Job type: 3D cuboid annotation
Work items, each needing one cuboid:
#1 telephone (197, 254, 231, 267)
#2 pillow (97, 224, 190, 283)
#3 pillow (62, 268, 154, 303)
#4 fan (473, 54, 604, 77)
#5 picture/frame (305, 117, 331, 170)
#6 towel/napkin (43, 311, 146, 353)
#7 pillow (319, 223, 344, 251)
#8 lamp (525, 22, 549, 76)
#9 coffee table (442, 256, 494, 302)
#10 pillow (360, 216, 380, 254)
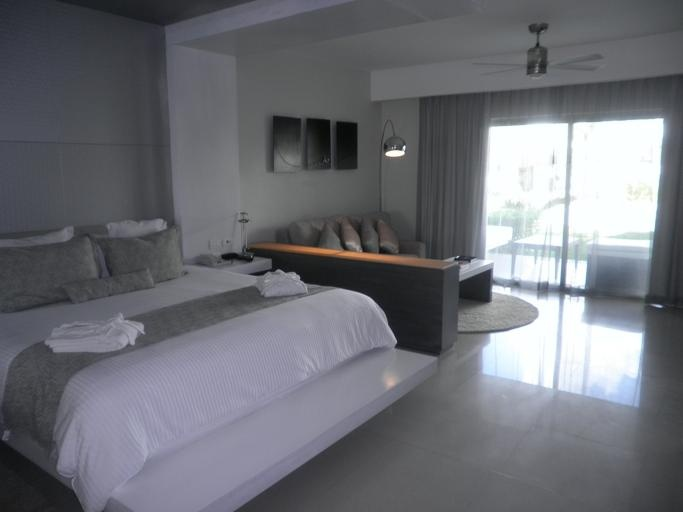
[{"bbox_3d":[-1.416,0.030,5.099,0.371,0.123,0.280,-3,11,-16],"label":"telephone"},{"bbox_3d":[-1.832,-0.019,4.194,0.142,0.320,0.489,-26,-10,39],"label":"pillow"},{"bbox_3d":[-1.941,0.248,3.826,0.674,0.214,0.121,-11,0,-38],"label":"pillow"},{"bbox_3d":[2.560,-2.368,5.791,0.919,0.139,0.930,-1,5,-11],"label":"fan"},{"bbox_3d":[-0.304,-1.565,6.512,0.461,0.678,0.057,-10,16,-42],"label":"picture/frame"},{"bbox_3d":[-1.539,0.493,2.881,0.366,0.069,0.269,-3,19,-20],"label":"towel/napkin"},{"bbox_3d":[-0.140,-0.258,6.076,0.105,0.336,0.357,-13,-15,18],"label":"pillow"},{"bbox_3d":[2.264,-2.283,5.257,0.240,0.573,0.705,4,12,21],"label":"lamp"},{"bbox_3d":[1.608,0.161,5.923,0.541,0.681,1.034,4,7,35],"label":"coffee table"},{"bbox_3d":[0.423,-0.289,6.647,0.169,0.316,0.547,-5,16,-4],"label":"pillow"}]
